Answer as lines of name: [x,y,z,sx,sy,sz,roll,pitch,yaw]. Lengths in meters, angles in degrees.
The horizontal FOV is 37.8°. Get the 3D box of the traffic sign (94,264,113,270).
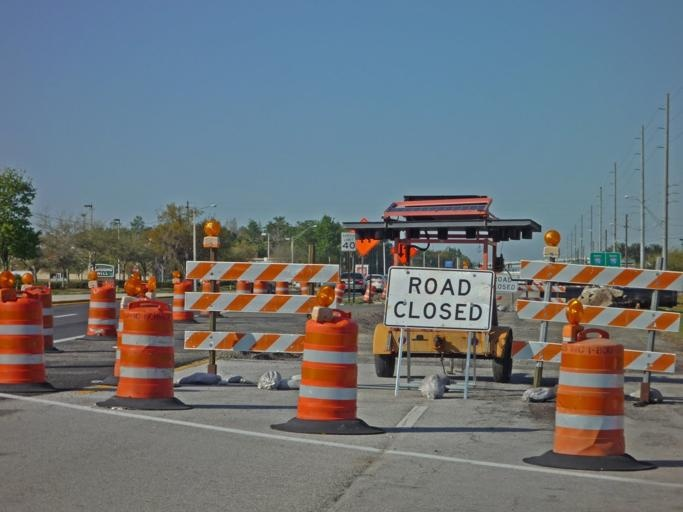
traffic sign: [-21.398,0.831,88.916,1.412,0.681,0.475,-1,4,-3]

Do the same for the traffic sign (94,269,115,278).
traffic sign: [-16.860,1.147,70.577,1.462,0.712,1.472,2,1,24]
